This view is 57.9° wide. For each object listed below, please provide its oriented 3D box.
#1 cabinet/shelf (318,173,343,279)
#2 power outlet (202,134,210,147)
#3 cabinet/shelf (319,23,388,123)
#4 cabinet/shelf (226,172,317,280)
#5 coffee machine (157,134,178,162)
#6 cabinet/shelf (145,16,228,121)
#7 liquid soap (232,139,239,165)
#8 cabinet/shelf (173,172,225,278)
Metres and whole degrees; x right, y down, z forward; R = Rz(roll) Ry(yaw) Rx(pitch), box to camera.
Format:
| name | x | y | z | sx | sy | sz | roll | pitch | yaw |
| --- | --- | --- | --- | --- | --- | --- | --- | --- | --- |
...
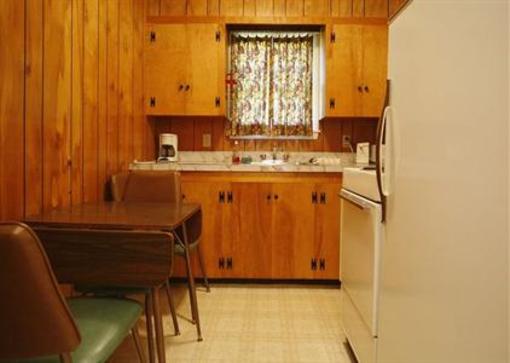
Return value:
| name | x | y | z | sx | sy | sz | roll | pitch | yaw |
| --- | --- | --- | --- | --- | --- | --- | --- | --- | --- |
| cabinet/shelf | 0.598 | 0.376 | 3.736 | 0.170 | 0.814 | 0.113 | 1 | 10 | 7 |
| power outlet | -0.467 | -0.388 | 4.455 | 0.074 | 0.126 | 0.020 | -2 | 10 | -13 |
| cabinet/shelf | 0.944 | -1.126 | 4.206 | 0.511 | 0.954 | 0.428 | 4 | 48 | 15 |
| cabinet/shelf | 0.151 | 0.320 | 3.742 | 0.689 | 0.971 | 0.334 | 0 | 1 | 0 |
| coffee machine | -0.788 | -0.290 | 4.161 | 0.161 | 0.259 | 0.242 | 0 | -4 | -5 |
| cabinet/shelf | -0.627 | -0.939 | 4.184 | 0.627 | 0.895 | 0.324 | -1 | -14 | -6 |
| liquid soap | -0.183 | -0.281 | 4.402 | 0.072 | 0.194 | 0.199 | 0 | 11 | -2 |
| cabinet/shelf | -0.478 | 0.441 | 3.933 | 0.335 | 0.619 | 0.391 | 13 | 14 | 5 |
